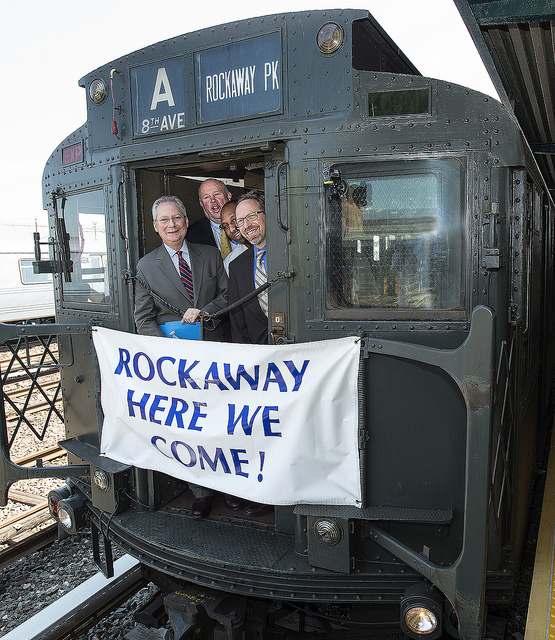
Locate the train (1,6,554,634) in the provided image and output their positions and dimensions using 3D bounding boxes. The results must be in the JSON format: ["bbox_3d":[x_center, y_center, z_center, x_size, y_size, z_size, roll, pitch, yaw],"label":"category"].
[{"bbox_3d":[-0.137,0.265,3.801,3.216,4.134,1.652,4,15,41],"label":"train"}]

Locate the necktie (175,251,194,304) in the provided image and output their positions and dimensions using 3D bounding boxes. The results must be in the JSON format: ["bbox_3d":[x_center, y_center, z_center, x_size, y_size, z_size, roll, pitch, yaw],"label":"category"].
[{"bbox_3d":[-0.668,-0.333,4.301,0.065,0.507,0.042,-13,-4,-4],"label":"necktie"}]

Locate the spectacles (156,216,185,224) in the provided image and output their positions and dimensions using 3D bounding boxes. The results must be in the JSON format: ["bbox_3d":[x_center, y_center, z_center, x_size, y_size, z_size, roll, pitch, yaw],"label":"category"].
[{"bbox_3d":[-0.749,-0.700,4.179,0.160,0.048,0.059,-18,16,-24],"label":"spectacles"}]

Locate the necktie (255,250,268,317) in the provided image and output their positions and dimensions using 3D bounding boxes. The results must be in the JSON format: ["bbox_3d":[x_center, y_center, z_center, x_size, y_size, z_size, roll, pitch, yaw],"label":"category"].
[{"bbox_3d":[-0.115,-0.235,4.000,0.111,0.444,0.106,-2,11,15],"label":"necktie"}]
